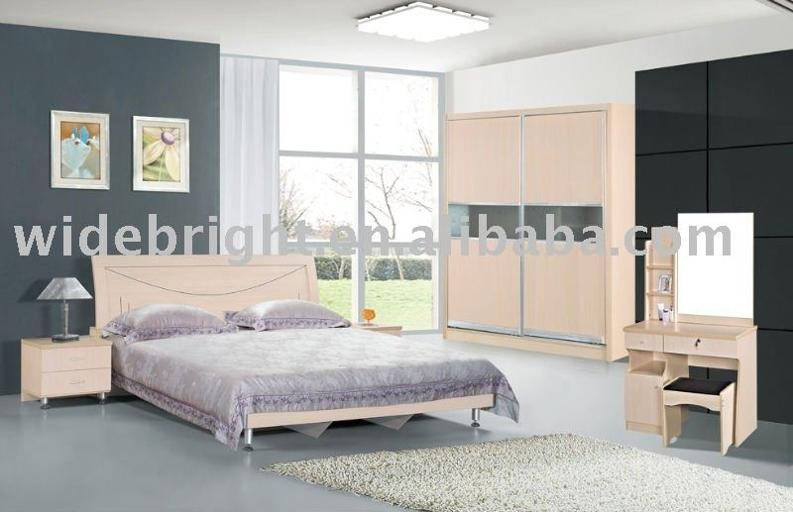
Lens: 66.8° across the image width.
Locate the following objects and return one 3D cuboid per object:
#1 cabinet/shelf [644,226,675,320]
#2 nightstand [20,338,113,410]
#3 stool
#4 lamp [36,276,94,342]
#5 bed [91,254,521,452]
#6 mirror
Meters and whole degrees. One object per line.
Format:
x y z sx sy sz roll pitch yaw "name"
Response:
2.357 0.209 5.423 0.232 0.689 0.333 2 6 20 "cabinet/shelf"
-3.214 1.002 5.862 0.808 0.659 0.624 0 -1 -37 "nightstand"
2.422 1.154 4.797 0.639 0.581 0.529 4 6 41 "stool"
-3.346 0.517 6.089 0.496 0.630 0.654 -3 6 -30 "lamp"
-1.298 0.821 5.693 2.166 1.155 2.775 -1 1 -33 "bed"
2.736 0.077 5.205 0.584 0.893 0.282 2 6 23 "mirror"
